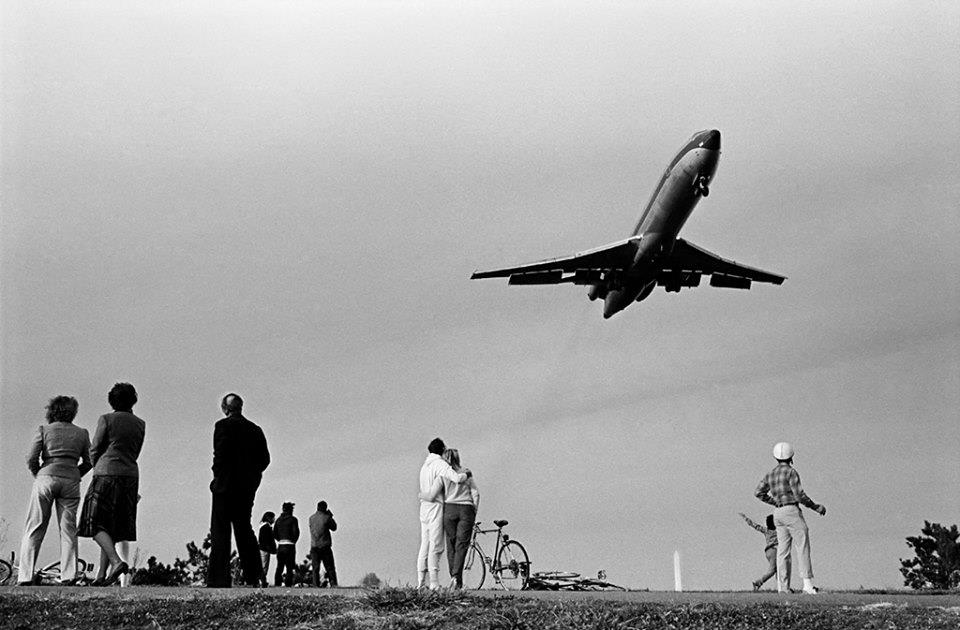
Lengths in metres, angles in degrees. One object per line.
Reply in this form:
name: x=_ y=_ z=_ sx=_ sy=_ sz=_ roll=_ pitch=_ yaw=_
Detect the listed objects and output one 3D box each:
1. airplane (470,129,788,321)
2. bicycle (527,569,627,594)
airplane: x=6.685 y=-4.709 z=57.633 sx=14.322 sy=7.974 sz=12.429 roll=4 pitch=-5 yaw=-26
bicycle: x=2.154 y=6.944 z=37.509 sx=2.961 sy=0.557 sz=1.325 roll=3 pitch=-3 yaw=-42
